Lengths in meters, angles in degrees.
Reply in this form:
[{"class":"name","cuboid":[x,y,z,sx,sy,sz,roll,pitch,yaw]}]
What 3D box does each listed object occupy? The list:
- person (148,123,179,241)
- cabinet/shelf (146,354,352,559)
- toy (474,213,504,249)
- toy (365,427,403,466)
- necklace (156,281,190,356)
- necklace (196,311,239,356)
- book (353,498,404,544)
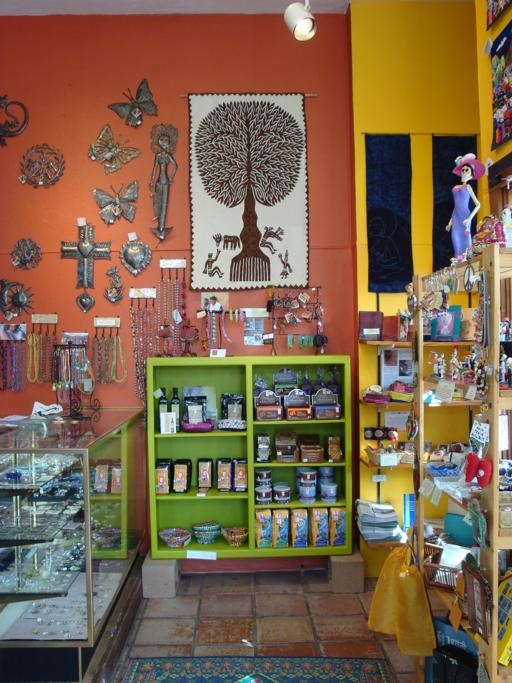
[{"class":"person","cuboid":[-0.617,-1.093,4.261,0.189,0.767,0.100,-1,5,-13]},{"class":"cabinet/shelf","cuboid":[-0.050,0.751,4.103,1.288,1.316,0.392,0,-2,-1]},{"class":"toy","cuboid":[0.938,-0.439,2.479,0.122,0.126,0.095,2,-4,25]},{"class":"toy","cuboid":[0.820,0.665,3.965,0.153,0.190,0.245,1,3,0]},{"class":"necklace","cuboid":[-0.552,-0.169,4.244,0.213,0.516,0.133,0,5,-2]},{"class":"necklace","cuboid":[-0.263,-0.065,4.265,0.252,0.298,0.094,-1,5,-8]},{"class":"book","cuboid":[0.797,1.143,3.995,0.289,0.191,0.242,1,6,5]}]
